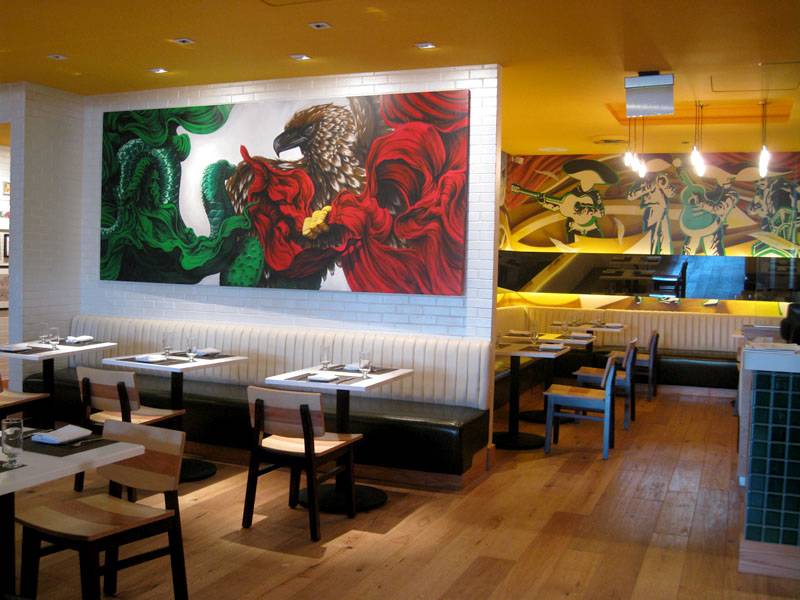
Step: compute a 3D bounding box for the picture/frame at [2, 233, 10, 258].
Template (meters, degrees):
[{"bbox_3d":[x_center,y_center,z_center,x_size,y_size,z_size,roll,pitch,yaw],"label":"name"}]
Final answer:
[{"bbox_3d":[-5.435,-0.724,8.768,0.049,0.329,0.117,1,5,-9],"label":"picture/frame"}]
